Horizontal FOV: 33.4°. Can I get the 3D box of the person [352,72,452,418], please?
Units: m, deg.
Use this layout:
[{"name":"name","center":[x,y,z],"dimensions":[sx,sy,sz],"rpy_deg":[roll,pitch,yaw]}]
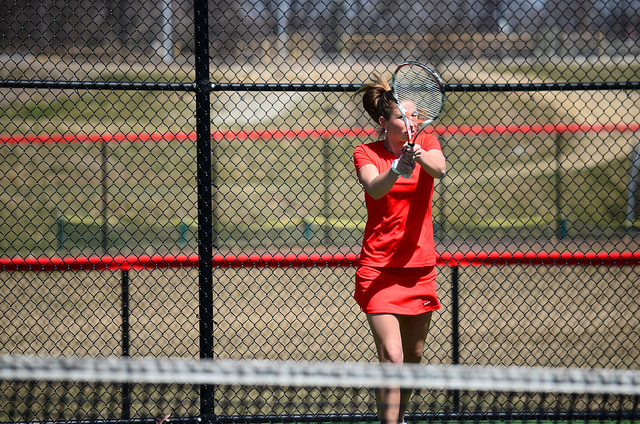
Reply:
[{"name":"person","center":[0.885,0.066,12.098],"dimensions":[1.001,3.264,0.702],"rpy_deg":[-2,-8,1]}]
